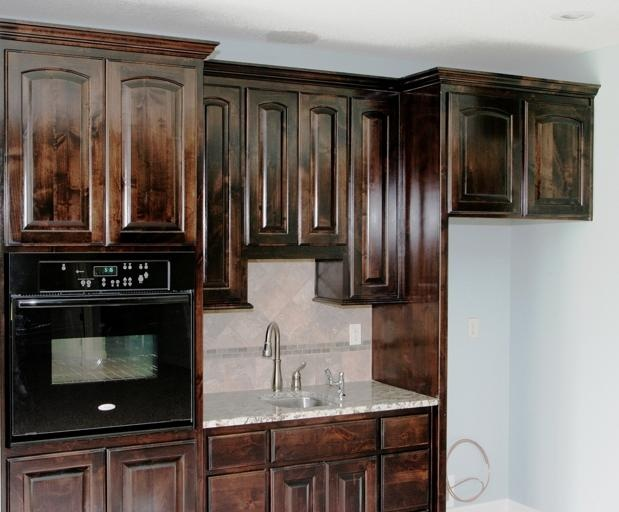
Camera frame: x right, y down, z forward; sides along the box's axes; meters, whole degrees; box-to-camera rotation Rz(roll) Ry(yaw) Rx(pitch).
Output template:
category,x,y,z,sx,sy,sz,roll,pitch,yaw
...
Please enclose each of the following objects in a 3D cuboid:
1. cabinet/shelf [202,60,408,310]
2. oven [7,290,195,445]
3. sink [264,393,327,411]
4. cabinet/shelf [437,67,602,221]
category,x,y,z,sx,sy,sz,roll,pitch,yaw
cabinet/shelf,-0.022,-0.427,3.531,1.489,1.389,0.564,1,-4,-23
oven,-0.993,0.332,3.036,0.984,0.722,0.576,1,-5,-21
sink,-0.101,0.846,3.643,0.358,0.093,0.172,-2,1,-13
cabinet/shelf,1.194,-0.637,3.610,0.944,0.720,0.331,1,-4,-19
